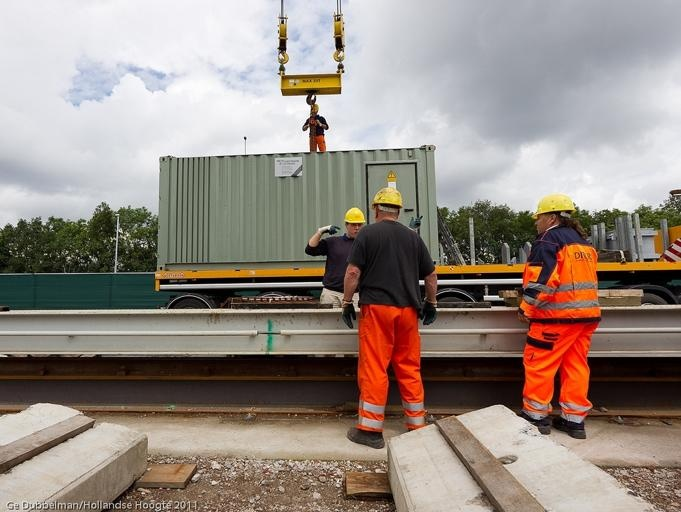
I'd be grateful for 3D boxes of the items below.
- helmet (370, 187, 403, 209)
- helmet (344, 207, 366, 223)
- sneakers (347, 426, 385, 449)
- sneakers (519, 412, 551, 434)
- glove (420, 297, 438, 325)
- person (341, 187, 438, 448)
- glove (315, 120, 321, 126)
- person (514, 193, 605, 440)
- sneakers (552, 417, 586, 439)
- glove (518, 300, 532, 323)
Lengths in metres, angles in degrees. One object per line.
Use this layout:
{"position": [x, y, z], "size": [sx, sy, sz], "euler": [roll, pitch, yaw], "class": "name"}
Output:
{"position": [0.441, -0.558, 5.480], "size": [0.212, 0.163, 0.291], "euler": [1, 6, -14], "class": "helmet"}
{"position": [0.146, -0.425, 6.228], "size": [0.199, 0.133, 0.250], "euler": [3, -3, -10], "class": "helmet"}
{"position": [0.233, 1.622, 5.174], "size": [0.333, 0.236, 0.140], "euler": [7, 2, 36], "class": "sneakers"}
{"position": [1.808, 1.533, 5.163], "size": [0.246, 0.226, 0.164], "euler": [-3, -1, 4], "class": "sneakers"}
{"position": [0.860, 0.542, 5.497], "size": [0.171, 0.233, 0.077], "euler": [8, -6, 12], "class": "glove"}
{"position": [0.470, 0.686, 5.264], "size": [0.900, 2.252, 0.456], "euler": [-3, 0, -4], "class": "person"}
{"position": [-0.401, -2.408, 10.268], "size": [0.069, 0.098, 0.032], "euler": [-7, 3, 1], "class": "glove"}
{"position": [2.032, 0.556, 5.291], "size": [0.773, 2.350, 0.436], "euler": [-3, 0, 6], "class": "person"}
{"position": [2.141, 1.588, 5.367], "size": [0.134, 0.174, 0.375], "euler": [2, 5, -17], "class": "sneakers"}
{"position": [1.717, 0.519, 5.304], "size": [0.072, 0.193, 0.139], "euler": [-1, 7, 30], "class": "glove"}
